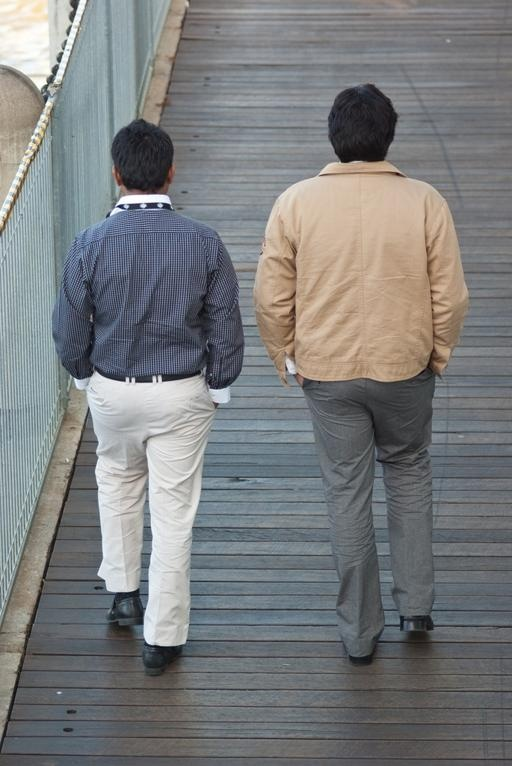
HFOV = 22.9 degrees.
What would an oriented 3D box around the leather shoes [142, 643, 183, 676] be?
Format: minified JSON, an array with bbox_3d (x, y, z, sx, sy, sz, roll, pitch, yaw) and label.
[{"bbox_3d":[-0.258,0.790,3.604,0.057,0.056,0.140,4,13,16],"label":"leather shoes"}]

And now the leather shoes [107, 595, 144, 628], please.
[{"bbox_3d":[-0.384,0.677,3.747,0.066,0.064,0.152,-3,0,-17],"label":"leather shoes"}]
